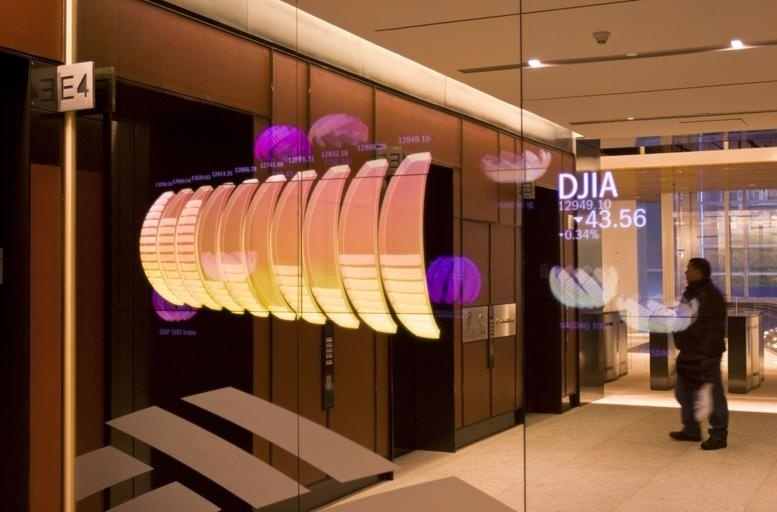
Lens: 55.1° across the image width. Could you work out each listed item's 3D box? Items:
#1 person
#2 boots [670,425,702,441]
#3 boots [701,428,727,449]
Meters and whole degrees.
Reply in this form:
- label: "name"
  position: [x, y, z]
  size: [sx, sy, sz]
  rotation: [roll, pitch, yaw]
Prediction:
- label: "person"
  position: [2.038, 0.643, 4.887]
  size: [0.341, 1.253, 0.089]
  rotation: [0, 5, 24]
- label: "boots"
  position: [1.984, 1.182, 4.972]
  size: [0.191, 0.089, 0.073]
  rotation: [3, 0, 23]
- label: "boots"
  position: [2.140, 1.215, 4.877]
  size: [0.165, 0.121, 0.078]
  rotation: [2, -4, 5]
